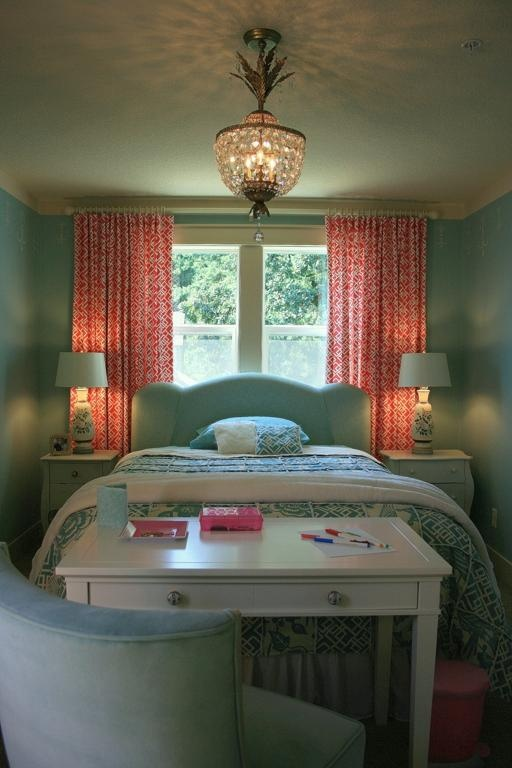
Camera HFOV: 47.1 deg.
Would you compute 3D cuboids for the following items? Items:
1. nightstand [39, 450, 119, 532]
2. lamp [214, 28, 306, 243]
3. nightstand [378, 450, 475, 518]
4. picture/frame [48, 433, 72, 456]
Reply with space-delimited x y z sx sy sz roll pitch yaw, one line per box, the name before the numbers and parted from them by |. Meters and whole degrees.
nightstand | -1.130 0.653 3.922 0.561 0.697 0.496 0 -1 -2
lamp | 0.013 -0.913 2.231 0.329 0.684 0.396 0 6 -4
nightstand | 1.103 0.556 3.828 0.578 0.519 0.409 1 -2 -4
picture/frame | -1.287 0.399 3.895 0.146 0.135 0.143 0 3 5
